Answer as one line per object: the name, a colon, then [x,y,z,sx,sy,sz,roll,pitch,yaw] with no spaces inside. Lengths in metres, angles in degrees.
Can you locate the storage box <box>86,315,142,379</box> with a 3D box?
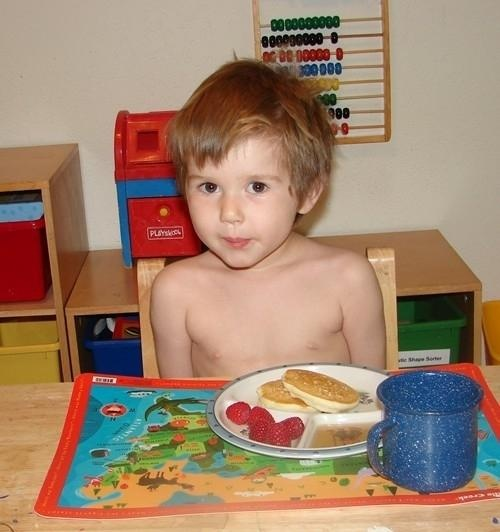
storage box: [-0.461,0.257,1.788,0.190,0.100,0.239,-1,26,-5]

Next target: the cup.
cup: [0.190,0.164,0.552,0.143,0.079,0.088,-9,14,-36]

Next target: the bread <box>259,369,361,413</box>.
bread: [0.084,0.144,0.658,0.068,0.020,0.073,-7,18,-30]

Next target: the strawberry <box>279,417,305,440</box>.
strawberry: [0.050,0.188,0.608,0.022,0.009,0.025,-2,33,-20]
